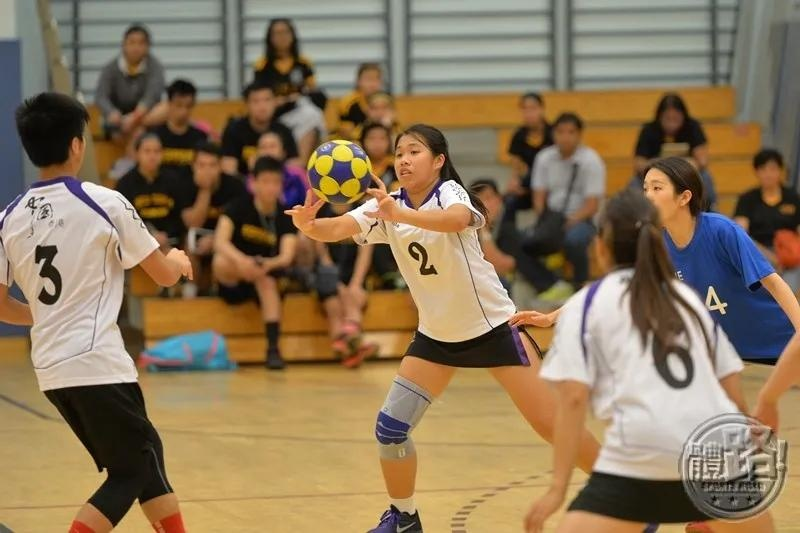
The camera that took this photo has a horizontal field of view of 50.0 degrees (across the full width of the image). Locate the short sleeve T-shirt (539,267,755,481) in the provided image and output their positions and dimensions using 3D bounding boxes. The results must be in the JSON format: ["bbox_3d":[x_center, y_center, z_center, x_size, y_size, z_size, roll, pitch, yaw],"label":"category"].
[{"bbox_3d":[1.003,0.425,3.396,1.046,0.974,0.536,0,4,6],"label":"short sleeve T-shirt"}]

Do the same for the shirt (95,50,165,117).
[{"bbox_3d":[-2.331,-1.550,7.484,0.602,0.656,0.685,-1,23,-2],"label":"shirt"}]

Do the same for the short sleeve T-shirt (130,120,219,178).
[{"bbox_3d":[-1.806,-0.852,6.953,0.685,0.634,0.366,-1,8,-6],"label":"short sleeve T-shirt"}]

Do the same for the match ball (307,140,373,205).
[{"bbox_3d":[-0.318,-0.509,4.394,0.316,0.316,0.297,18,5,-2],"label":"match ball"}]

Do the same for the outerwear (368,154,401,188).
[{"bbox_3d":[-0.139,-0.784,7.559,0.320,0.408,0.145,2,13,31],"label":"outerwear"}]

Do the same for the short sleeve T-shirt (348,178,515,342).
[{"bbox_3d":[0.111,-0.024,4.361,0.958,0.850,0.736,-5,-1,-9],"label":"short sleeve T-shirt"}]

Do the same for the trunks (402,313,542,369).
[{"bbox_3d":[0.370,0.415,4.444,0.738,0.278,0.242,9,-6,13],"label":"trunks"}]
